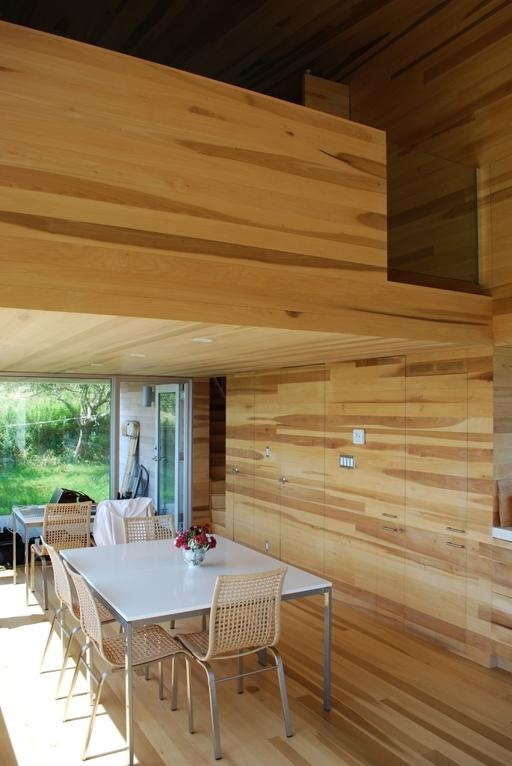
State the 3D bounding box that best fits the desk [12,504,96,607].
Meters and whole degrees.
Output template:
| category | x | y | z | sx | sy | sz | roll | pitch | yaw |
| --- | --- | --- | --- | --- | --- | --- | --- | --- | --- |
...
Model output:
| category | x | y | z | sx | sy | sz | roll | pitch | yaw |
| --- | --- | --- | --- | --- | --- | --- | --- | --- | --- |
| desk | -2.138 | 1.703 | 6.268 | 0.896 | 1.151 | 1.148 | -9 | -8 | -25 |
